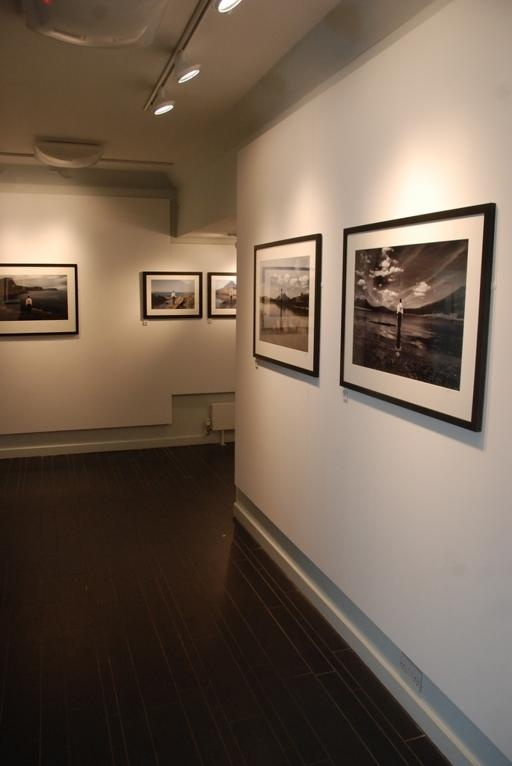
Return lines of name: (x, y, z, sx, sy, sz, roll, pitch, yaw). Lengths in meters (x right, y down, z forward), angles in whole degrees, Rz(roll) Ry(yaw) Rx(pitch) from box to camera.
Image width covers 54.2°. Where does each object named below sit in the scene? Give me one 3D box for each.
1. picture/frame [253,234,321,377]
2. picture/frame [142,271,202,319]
picture/frame: (0.190, -0.547, 3.440, 0.049, 0.926, 1.130, -1, 5, -19)
picture/frame: (-1.230, -1.265, 7.110, 0.528, 0.559, 0.025, -2, 8, -24)
